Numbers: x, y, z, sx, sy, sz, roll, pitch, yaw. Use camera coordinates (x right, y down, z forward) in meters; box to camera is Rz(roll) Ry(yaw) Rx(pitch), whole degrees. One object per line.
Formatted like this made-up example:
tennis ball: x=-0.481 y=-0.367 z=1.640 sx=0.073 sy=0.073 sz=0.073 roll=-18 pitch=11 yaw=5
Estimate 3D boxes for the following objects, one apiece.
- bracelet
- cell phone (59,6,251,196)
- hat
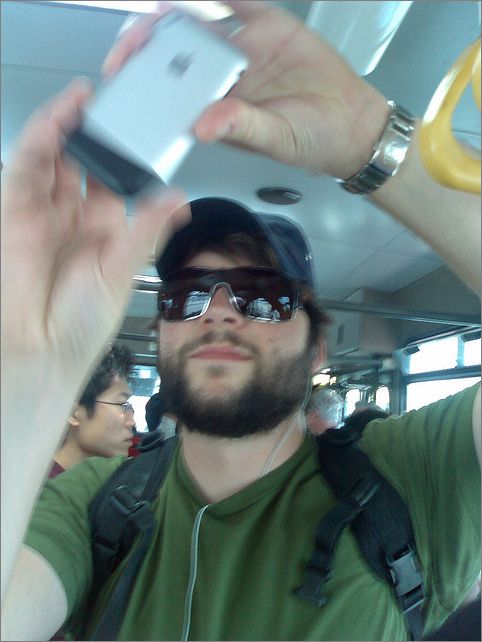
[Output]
bracelet: x=0.134 y=-0.157 z=0.516 sx=0.061 sy=0.096 sz=0.086 roll=37 pitch=-48 yaw=-23
cell phone: x=-0.059 y=-0.155 z=0.406 sx=0.108 sy=0.145 sz=0.035 roll=42 pitch=14 yaw=8
hat: x=-0.001 y=-0.122 z=0.945 sx=0.224 sy=0.163 sz=0.348 roll=2 pitch=4 yaw=22
